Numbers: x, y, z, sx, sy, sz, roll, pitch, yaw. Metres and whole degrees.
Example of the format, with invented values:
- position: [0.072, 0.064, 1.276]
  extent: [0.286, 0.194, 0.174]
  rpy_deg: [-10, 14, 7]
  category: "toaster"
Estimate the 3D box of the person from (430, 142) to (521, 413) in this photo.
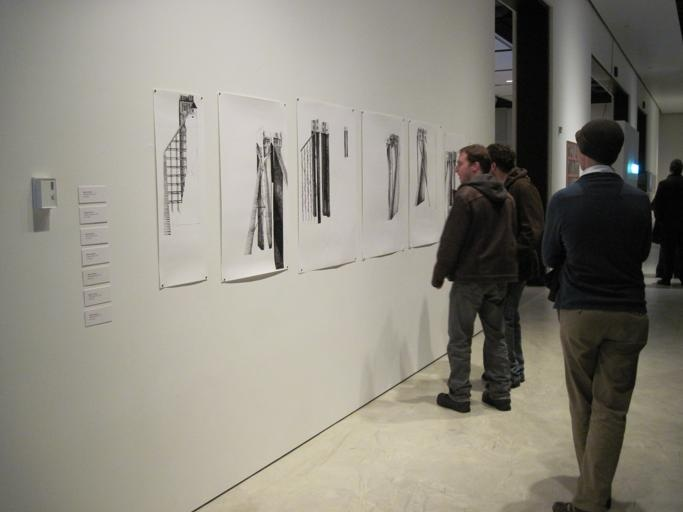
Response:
- position: [1.041, 0.174, 3.883]
  extent: [0.680, 2.084, 0.468]
  rpy_deg: [1, 7, 6]
  category: "person"

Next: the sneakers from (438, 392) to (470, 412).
- position: [0.876, 1.176, 3.947]
  extent: [0.102, 0.151, 0.285]
  rpy_deg: [-2, 9, -34]
  category: "sneakers"
